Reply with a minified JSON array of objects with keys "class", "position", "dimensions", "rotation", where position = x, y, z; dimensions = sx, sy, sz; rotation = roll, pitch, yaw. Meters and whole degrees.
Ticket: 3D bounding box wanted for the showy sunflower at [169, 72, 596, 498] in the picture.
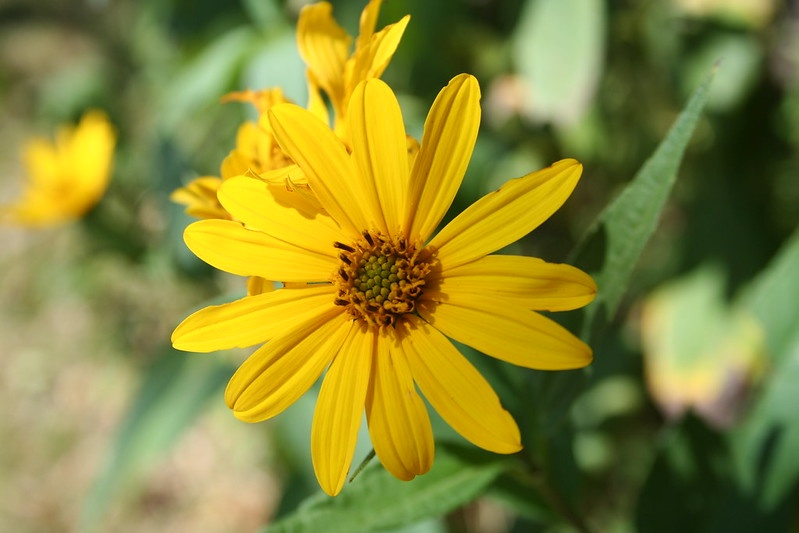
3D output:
[{"class":"showy sunflower","position":[-0.026,0.034,1.439],"dimensions":[0.710,0.155,0.814],"rotation":[14,37,0]}]
